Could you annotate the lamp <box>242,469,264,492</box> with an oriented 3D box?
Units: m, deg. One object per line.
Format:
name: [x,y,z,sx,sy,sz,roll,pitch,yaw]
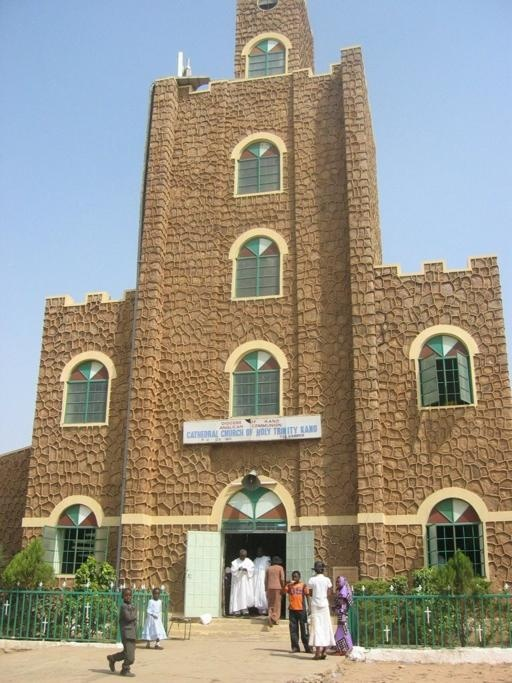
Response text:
lamp: [-0.049,3.626,15.445,0.485,0.521,0.530,3,-2,7]

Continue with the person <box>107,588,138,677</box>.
person: [-1.752,3.835,7.847,0.349,0.936,1.440,3,-18,-11]

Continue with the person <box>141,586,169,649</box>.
person: [-1.823,5.037,10.813,0.397,1.012,1.271,3,-18,-9]

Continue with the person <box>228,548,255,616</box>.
person: [-0.350,5.980,14.749,0.602,1.405,0.515,0,-17,0]

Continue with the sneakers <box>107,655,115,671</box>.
sneakers: [-1.862,4.168,7.673,0.105,0.190,0.241,4,-18,-13]
